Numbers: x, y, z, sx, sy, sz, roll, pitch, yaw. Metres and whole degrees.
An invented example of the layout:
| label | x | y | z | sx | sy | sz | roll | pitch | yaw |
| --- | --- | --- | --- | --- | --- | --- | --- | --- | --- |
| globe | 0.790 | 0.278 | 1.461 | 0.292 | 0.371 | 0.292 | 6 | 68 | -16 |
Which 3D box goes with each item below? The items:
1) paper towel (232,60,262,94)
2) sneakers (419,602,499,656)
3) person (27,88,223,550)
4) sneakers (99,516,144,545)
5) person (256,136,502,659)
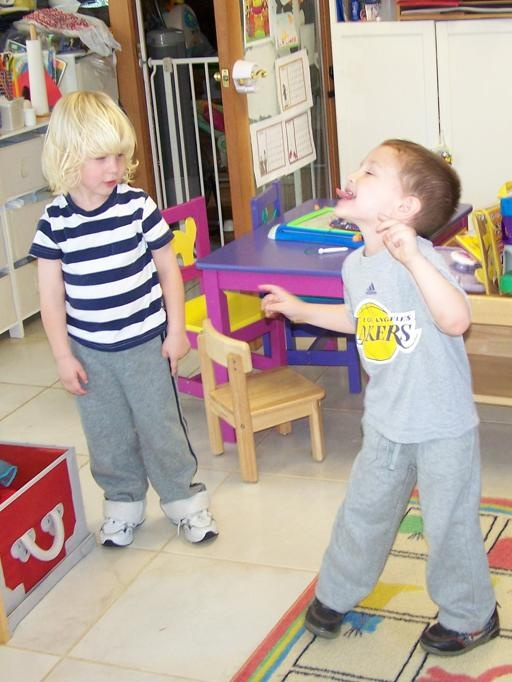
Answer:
| label | x | y | z | sx | sy | sz | roll | pitch | yaw |
| --- | --- | --- | --- | --- | --- | --- | --- | --- | --- |
| paper towel | -0.047 | -1.150 | 2.484 | 0.156 | 0.109 | 0.143 | 7 | -15 | 7 |
| sneakers | 0.373 | 0.550 | 1.094 | 0.174 | 0.076 | 0.067 | -8 | 26 | -3 |
| person | -0.332 | 0.005 | 1.403 | 0.328 | 1.147 | 0.294 | -8 | 12 | -4 |
| sneakers | -0.384 | 0.535 | 1.591 | 0.050 | 0.052 | 0.127 | 5 | -10 | 5 |
| person | 0.257 | 0.140 | 0.997 | 0.302 | 0.941 | 0.426 | -14 | 13 | -28 |
